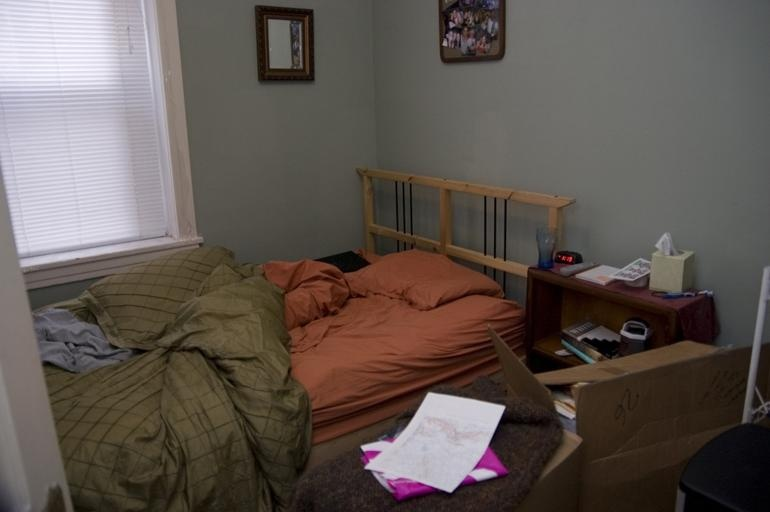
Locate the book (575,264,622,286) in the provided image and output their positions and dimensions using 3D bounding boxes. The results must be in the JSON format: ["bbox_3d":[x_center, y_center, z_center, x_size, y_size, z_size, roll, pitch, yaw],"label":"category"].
[{"bbox_3d":[1.107,0.087,2.803,0.179,0.037,0.247,15,23,41],"label":"book"}]

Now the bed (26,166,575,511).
[{"bbox_3d":[-0.133,0.206,3.083,2.123,1.025,1.382,-14,22,-36],"label":"bed"}]

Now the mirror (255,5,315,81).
[{"bbox_3d":[-0.725,-1.510,3.801,0.525,0.536,0.047,-6,13,-34],"label":"mirror"}]

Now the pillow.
[{"bbox_3d":[0.206,0.135,3.398,0.465,0.174,0.602,-12,17,-29],"label":"pillow"}]

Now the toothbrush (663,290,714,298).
[{"bbox_3d":[1.424,0.180,2.567,0.151,0.027,0.032,-1,15,-4],"label":"toothbrush"}]
